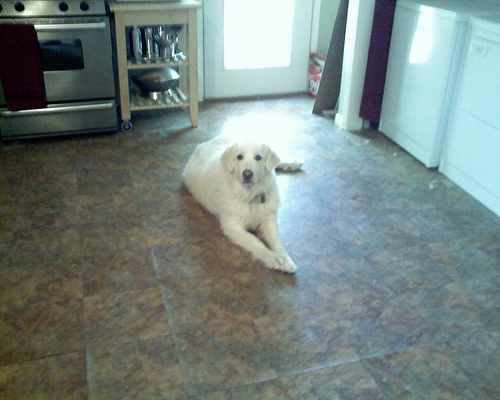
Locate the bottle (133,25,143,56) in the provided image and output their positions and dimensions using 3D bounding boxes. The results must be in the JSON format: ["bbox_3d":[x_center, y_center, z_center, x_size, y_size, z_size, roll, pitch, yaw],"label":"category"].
[{"bbox_3d":[-1.047,-1.459,3.828,0.099,0.269,0.038,2,26,4],"label":"bottle"}]

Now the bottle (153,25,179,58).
[{"bbox_3d":[-0.759,-1.518,3.928,0.206,0.269,0.227,8,31,10],"label":"bottle"}]

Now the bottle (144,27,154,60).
[{"bbox_3d":[-0.939,-1.467,3.840,0.093,0.266,0.044,-9,27,-17],"label":"bottle"}]
